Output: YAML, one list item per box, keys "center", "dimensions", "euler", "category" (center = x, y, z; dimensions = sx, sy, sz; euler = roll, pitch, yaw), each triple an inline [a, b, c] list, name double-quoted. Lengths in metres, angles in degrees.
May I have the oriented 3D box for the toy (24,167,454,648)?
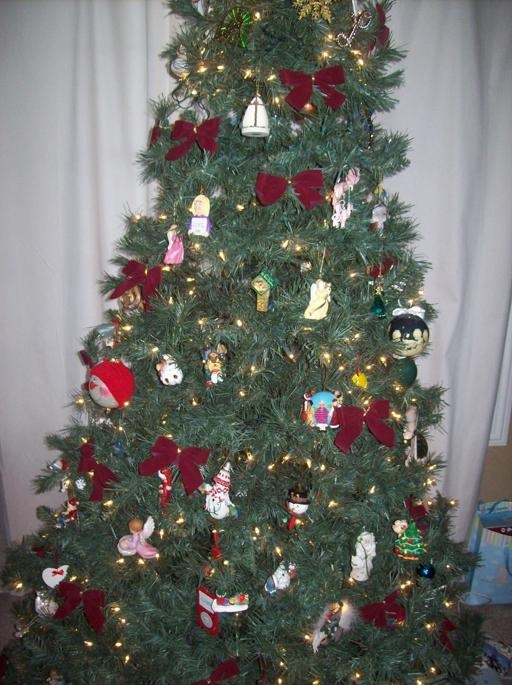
- center: [-0.026, 0.218, 1.949]
  dimensions: [1.308, 1.450, 0.544]
  euler: [5, 14, 13]
  category: "toy"
